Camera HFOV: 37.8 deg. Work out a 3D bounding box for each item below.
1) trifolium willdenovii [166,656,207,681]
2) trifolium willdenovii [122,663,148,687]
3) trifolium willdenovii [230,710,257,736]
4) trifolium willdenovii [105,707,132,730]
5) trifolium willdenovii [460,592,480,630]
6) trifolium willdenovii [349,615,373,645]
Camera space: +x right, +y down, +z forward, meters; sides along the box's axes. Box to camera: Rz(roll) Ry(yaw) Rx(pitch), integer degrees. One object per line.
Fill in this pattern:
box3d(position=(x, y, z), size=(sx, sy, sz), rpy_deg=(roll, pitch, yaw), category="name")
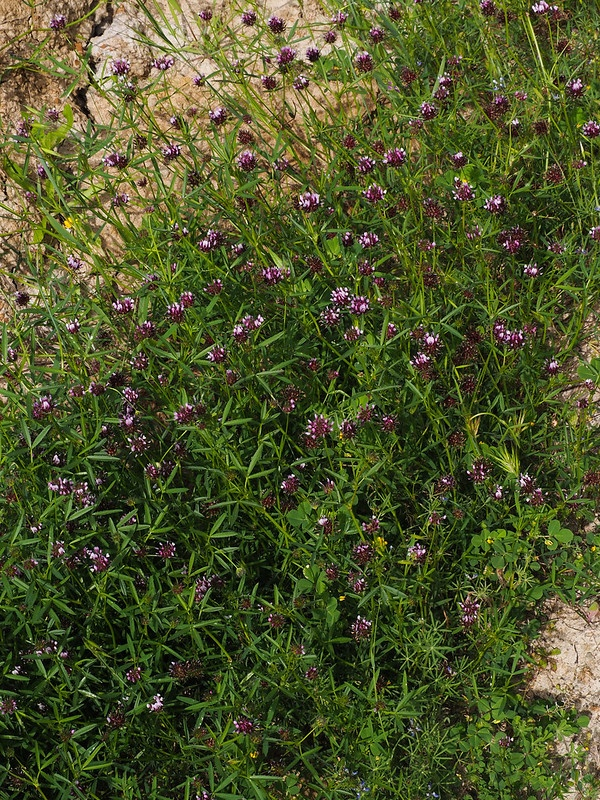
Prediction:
box3d(position=(-0.471, 1.106, 3.606), size=(0.116, 0.075, 0.114), rpy_deg=(11, 23, 22), category="trifolium willdenovii")
box3d(position=(-0.678, 1.123, 3.600), size=(0.104, 0.059, 0.096), rpy_deg=(-42, 49, 21), category="trifolium willdenovii")
box3d(position=(-0.220, 1.253, 3.404), size=(0.080, 0.044, 0.075), rpy_deg=(8, 53, -1), category="trifolium willdenovii")
box3d(position=(-0.725, 1.259, 3.467), size=(0.056, 0.066, 0.082), rpy_deg=(11, 65, 30), category="trifolium willdenovii")
box3d(position=(0.731, 0.911, 3.775), size=(0.115, 0.177, 0.112), rpy_deg=(-12, 58, 9), category="trifolium willdenovii")
box3d(position=(0.258, 0.956, 3.687), size=(0.116, 0.114, 0.109), rpy_deg=(1, 18, 3), category="trifolium willdenovii")
